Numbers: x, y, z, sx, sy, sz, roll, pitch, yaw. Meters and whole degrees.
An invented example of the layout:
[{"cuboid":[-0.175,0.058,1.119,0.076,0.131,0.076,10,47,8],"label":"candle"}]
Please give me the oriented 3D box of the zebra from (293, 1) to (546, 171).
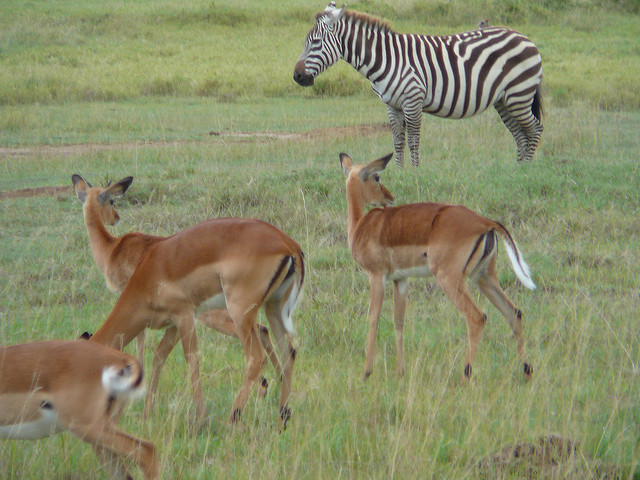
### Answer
[{"cuboid":[1.634,-2.227,12.029,3.587,2.489,0.993,-10,19,-15],"label":"zebra"}]
